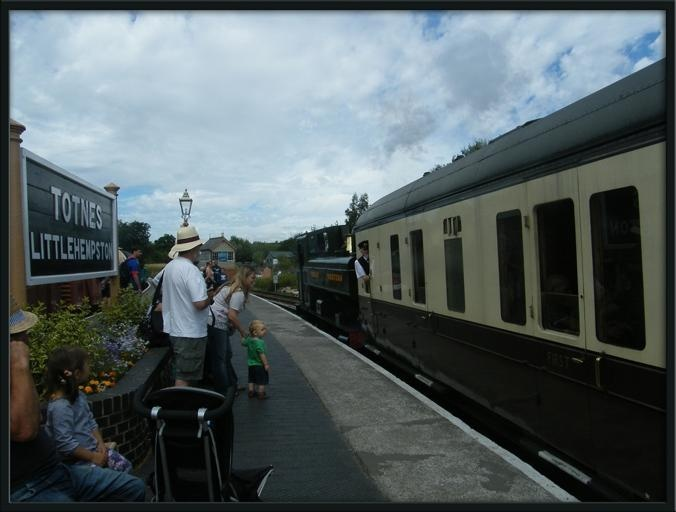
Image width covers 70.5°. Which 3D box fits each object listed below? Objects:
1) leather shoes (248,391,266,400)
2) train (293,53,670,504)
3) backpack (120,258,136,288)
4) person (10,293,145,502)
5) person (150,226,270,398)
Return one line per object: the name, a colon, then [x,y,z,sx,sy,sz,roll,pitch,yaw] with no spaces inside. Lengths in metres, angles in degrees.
leather shoes: [-1.212,2.091,7.215,0.219,0.100,0.128,-1,1,10]
train: [1.900,0.242,5.931,0.894,3.559,4.865,-2,1,-21]
backpack: [-4.992,0.395,11.361,0.343,0.556,0.867,-3,2,-41]
person: [-2.007,1.080,3.540,0.731,1.395,0.426,-3,2,-37]
person: [-1.589,0.736,5.800,1.093,1.502,1.692,-2,1,-11]
